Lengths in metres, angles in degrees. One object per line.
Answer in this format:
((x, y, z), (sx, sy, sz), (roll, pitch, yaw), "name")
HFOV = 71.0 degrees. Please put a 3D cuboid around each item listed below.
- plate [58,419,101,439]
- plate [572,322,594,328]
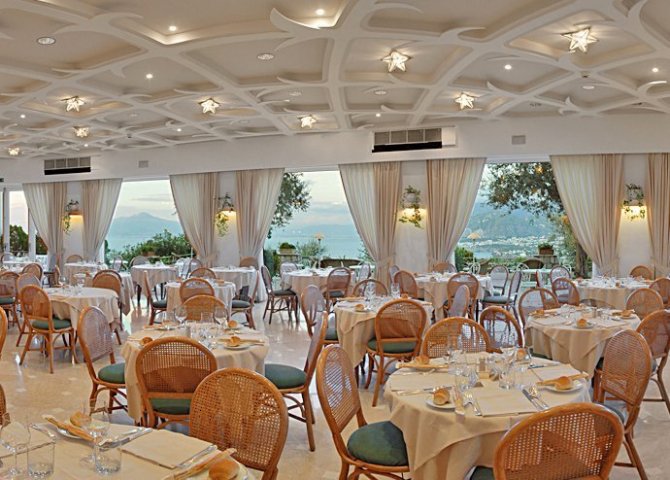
((-1.239, 0.931, 2.299), (0.168, 0.038, 0.161), (12, -12, 25), "plate")
((2.432, 0.839, 4.640), (0.099, 0.039, 0.100), (0, -4, 39), "plate")
